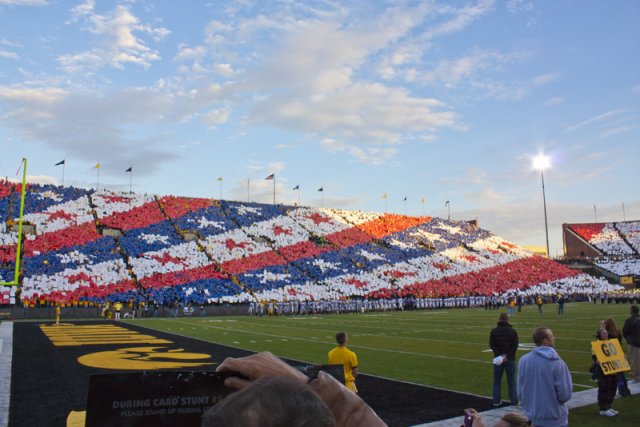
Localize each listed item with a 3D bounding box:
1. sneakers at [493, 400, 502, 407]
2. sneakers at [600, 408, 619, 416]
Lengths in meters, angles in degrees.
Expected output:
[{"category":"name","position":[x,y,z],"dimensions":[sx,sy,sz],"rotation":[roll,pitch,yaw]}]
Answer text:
[{"category":"sneakers","position":[4.604,4.951,13.688],"dimensions":[0.261,0.096,0.092],"rotation":[6,-10,-33]},{"category":"sneakers","position":[7.165,4.974,13.125],"dimensions":[0.218,0.080,0.250],"rotation":[-23,-21,39]}]
